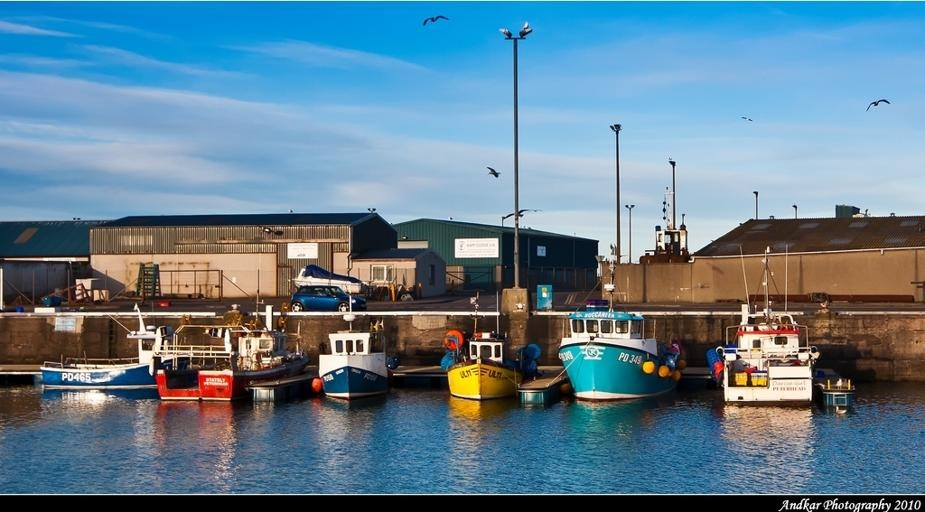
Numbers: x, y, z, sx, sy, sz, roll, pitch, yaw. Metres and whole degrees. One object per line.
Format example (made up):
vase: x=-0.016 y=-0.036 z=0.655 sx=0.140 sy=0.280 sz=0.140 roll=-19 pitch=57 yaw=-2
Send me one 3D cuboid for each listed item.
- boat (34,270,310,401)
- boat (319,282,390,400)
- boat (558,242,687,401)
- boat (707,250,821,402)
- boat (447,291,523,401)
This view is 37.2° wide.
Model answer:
boat: x=-20.638 y=6.858 z=95.363 sx=19.097 sy=6.241 sz=9.178 roll=-2 pitch=-5 yaw=3
boat: x=-7.503 y=6.320 z=95.788 sx=4.581 sy=6.759 sz=11.830 roll=-2 pitch=-2 yaw=3
boat: x=11.074 y=6.328 z=92.632 sx=6.118 sy=4.783 sz=10.107 roll=1 pitch=-1 yaw=19
boat: x=20.675 y=6.537 z=93.966 sx=5.679 sy=6.942 sz=12.876 roll=1 pitch=4 yaw=10
boat: x=1.578 y=6.843 z=93.903 sx=5.824 sy=3.611 sz=10.381 roll=3 pitch=10 yaw=3
